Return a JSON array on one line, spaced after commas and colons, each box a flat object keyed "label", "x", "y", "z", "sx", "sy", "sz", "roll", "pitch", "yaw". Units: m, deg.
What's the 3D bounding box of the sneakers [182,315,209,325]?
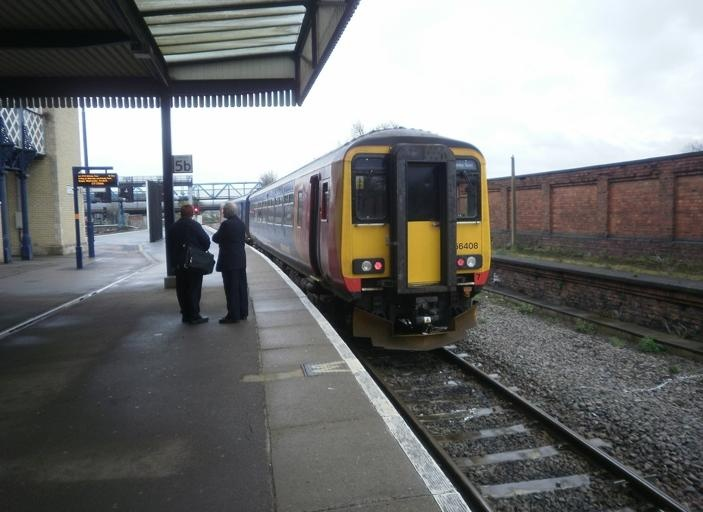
[{"label": "sneakers", "x": -2.803, "y": 1.100, "z": 8.977, "sx": 0.511, "sy": 0.225, "sz": 0.171, "roll": -2, "pitch": 4, "yaw": -22}]

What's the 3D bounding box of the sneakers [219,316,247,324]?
[{"label": "sneakers", "x": -2.103, "y": 1.133, "z": 8.987, "sx": 0.502, "sy": 0.207, "sz": 0.175, "roll": 4, "pitch": 1, "yaw": -13}]

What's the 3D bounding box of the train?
[{"label": "train", "x": -0.125, "y": -0.438, "z": 10.224, "sx": 2.337, "sy": 3.990, "sz": 5.358, "roll": -7, "pitch": 12, "yaw": -31}]

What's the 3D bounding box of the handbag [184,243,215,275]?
[{"label": "handbag", "x": -2.599, "y": 0.052, "z": 8.490, "sx": 0.542, "sy": 0.418, "sz": 0.245, "roll": 9, "pitch": -5, "yaw": -35}]
